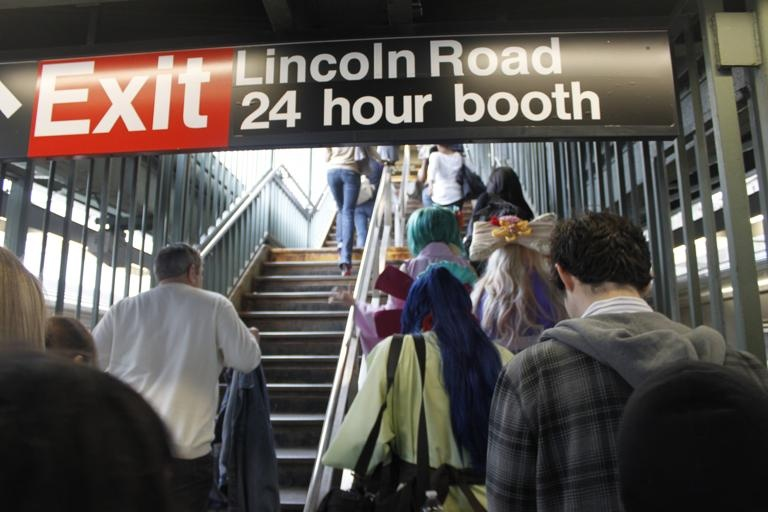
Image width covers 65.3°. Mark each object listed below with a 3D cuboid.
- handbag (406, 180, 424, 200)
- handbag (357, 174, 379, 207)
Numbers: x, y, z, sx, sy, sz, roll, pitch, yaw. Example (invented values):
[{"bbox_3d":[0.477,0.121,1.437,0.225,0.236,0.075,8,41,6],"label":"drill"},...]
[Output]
[{"bbox_3d":[0.434,-0.900,8.147,0.226,0.249,0.081,5,14,8],"label":"handbag"},{"bbox_3d":[-0.173,-0.745,6.817,0.161,0.329,0.306,-15,-26,30],"label":"handbag"}]
